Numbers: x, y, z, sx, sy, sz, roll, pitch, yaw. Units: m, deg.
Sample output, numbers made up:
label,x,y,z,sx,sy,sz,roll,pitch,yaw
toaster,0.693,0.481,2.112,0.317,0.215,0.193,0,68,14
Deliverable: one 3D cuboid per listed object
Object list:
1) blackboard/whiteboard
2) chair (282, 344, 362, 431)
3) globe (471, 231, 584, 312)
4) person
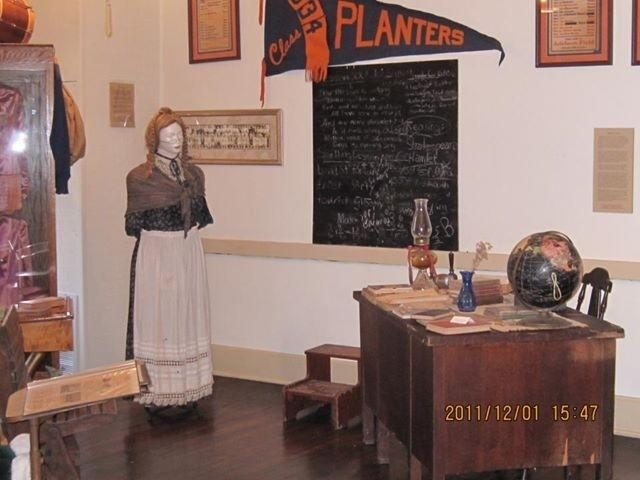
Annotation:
label,x,y,z,sx,sy,sz,roll,pitch,yaw
blackboard/whiteboard,0.493,-0.648,4.759,1.266,1.403,0.096,4,7,25
chair,0.046,1.065,4.564,0.509,0.514,0.558,0,0,33
globe,1.173,0.128,3.173,0.383,0.403,0.315,1,7,11
person,-1.157,0.111,4.510,0.668,2.172,0.473,-2,9,-11
